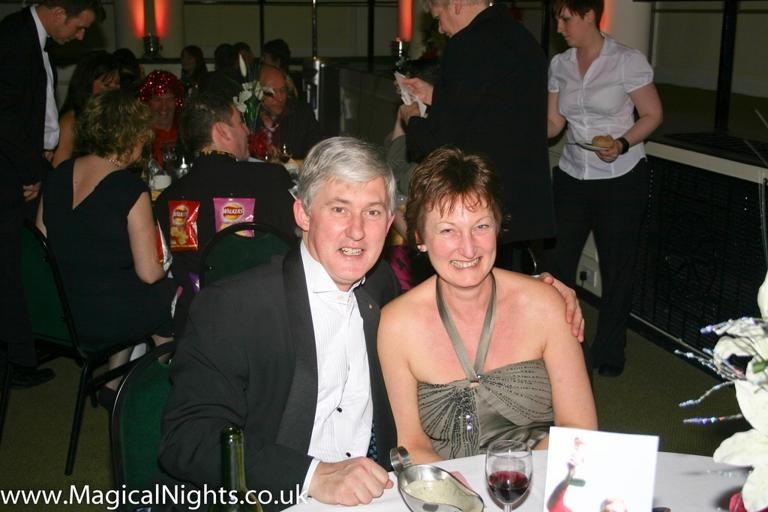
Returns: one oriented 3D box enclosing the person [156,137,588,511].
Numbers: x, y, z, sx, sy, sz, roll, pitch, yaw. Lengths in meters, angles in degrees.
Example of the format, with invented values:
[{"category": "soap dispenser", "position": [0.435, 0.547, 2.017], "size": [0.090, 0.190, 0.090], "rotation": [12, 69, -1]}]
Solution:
[{"category": "person", "position": [-0.247, 0.331, 2.530], "size": [1.455, 1.313, 0.973], "rotation": [-6, 11, -39]}]
